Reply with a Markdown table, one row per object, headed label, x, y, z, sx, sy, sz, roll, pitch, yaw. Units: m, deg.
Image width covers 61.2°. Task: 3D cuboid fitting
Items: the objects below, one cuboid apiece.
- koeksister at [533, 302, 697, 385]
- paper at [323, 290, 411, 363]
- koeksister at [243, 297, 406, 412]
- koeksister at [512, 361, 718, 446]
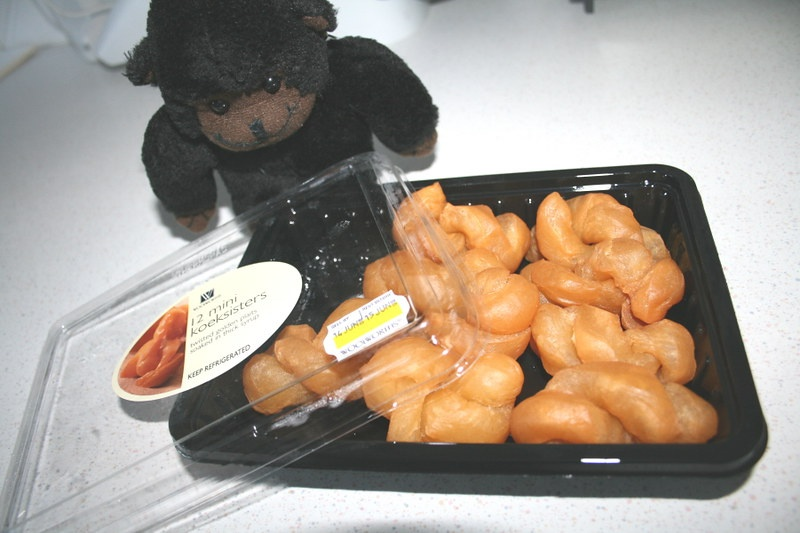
| label | x | y | z | sx | sy | sz | roll | pitch | yaw |
| --- | --- | --- | --- | --- | --- | --- | --- | --- | --- |
| koeksister | 0.397 | 0.144 | 1.255 | 0.251 | 0.089 | 0.142 | 0 | 54 | 14 |
| paper | -0.063 | 0.108 | 1.216 | 0.177 | 0.020 | 0.087 | -29 | 70 | 7 |
| koeksister | -0.133 | 0.165 | 1.267 | 0.344 | 0.088 | 0.183 | -25 | 48 | -9 |
| koeksister | 0.388 | 0.257 | 1.233 | 0.377 | 0.137 | 0.185 | -4 | 33 | 11 |
